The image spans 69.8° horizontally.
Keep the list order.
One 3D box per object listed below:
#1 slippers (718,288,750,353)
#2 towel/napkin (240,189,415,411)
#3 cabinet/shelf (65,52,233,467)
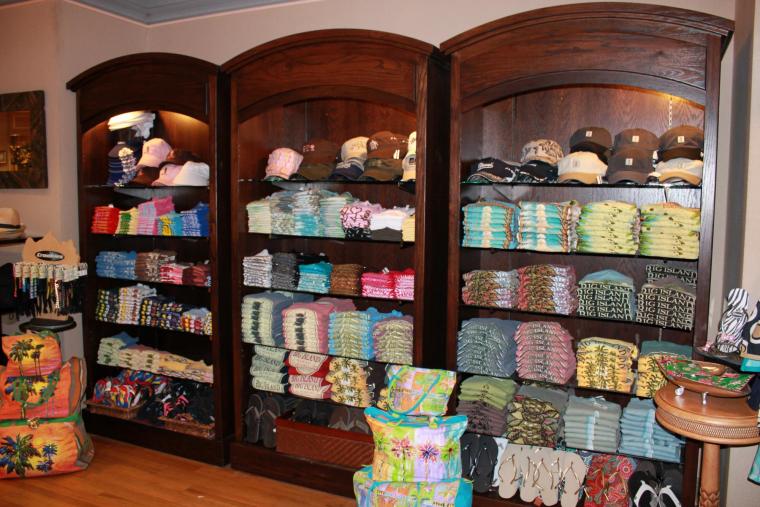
[{"bbox_3d":[2.087,0.397,3.233,0.168,0.379,0.217,2,4,33],"label":"slippers"},{"bbox_3d":[-0.425,0.390,4.338,1.895,2.040,0.613,2,2,20],"label":"towel/napkin"},{"bbox_3d":[-1.934,0.032,4.896,1.590,3.450,0.593,1,3,25],"label":"cabinet/shelf"}]
